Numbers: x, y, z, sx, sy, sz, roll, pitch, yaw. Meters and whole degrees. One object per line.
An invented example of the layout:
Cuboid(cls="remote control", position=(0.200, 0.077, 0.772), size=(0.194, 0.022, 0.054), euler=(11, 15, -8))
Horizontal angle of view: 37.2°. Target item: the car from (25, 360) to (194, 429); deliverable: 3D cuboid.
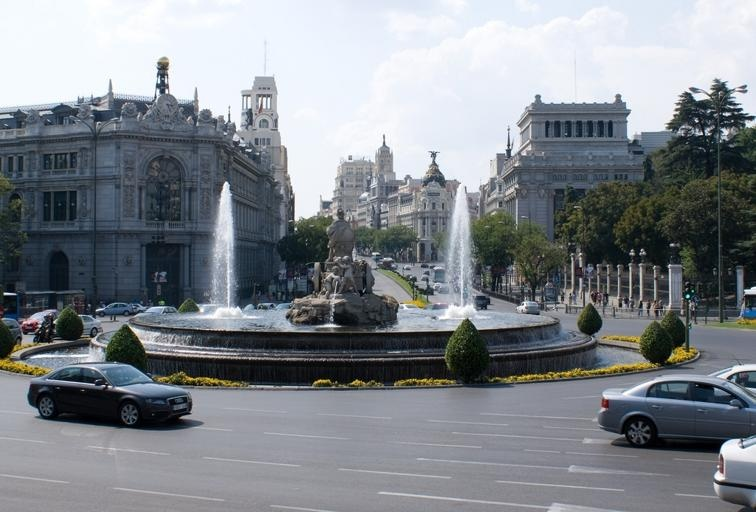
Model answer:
Cuboid(cls="car", position=(-13.308, 6.791, 55.224), size=(7.525, 3.087, 1.404), euler=(-1, -4, 15))

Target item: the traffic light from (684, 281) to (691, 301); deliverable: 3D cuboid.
Cuboid(cls="traffic light", position=(19.906, 2.211, 71.686), size=(0.511, 1.272, 1.385), euler=(-1, -4, 16))

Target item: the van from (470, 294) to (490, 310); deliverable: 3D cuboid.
Cuboid(cls="van", position=(10.206, 4.369, 110.251), size=(1.531, 1.329, 2.433), euler=(0, -8, -4))
